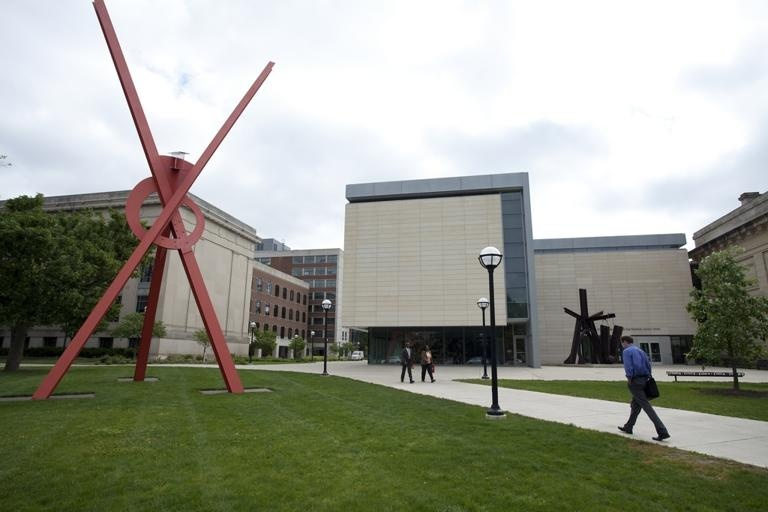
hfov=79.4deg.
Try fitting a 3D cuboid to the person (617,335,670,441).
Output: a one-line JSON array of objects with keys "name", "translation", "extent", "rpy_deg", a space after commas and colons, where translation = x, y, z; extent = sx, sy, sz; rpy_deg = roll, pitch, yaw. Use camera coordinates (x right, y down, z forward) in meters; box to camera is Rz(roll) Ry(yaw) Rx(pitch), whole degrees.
[{"name": "person", "translation": [6.984, 3.460, 12.580], "extent": [1.049, 2.590, 1.376], "rpy_deg": [0, -5, 26]}]

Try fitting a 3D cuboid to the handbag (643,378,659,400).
[{"name": "handbag", "translation": [6.986, 3.449, 12.110], "extent": [0.303, 0.561, 0.364], "rpy_deg": [-1, -5, 31]}]

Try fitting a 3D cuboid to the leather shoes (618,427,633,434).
[{"name": "leather shoes", "translation": [6.550, 4.705, 12.593], "extent": [0.118, 0.148, 0.317], "rpy_deg": [9, -6, -27]}]

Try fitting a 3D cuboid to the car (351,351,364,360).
[{"name": "car", "translation": [-5.001, 18.145, 85.277], "extent": [1.859, 1.681, 3.142], "rpy_deg": [-3, -20, 11]}]
